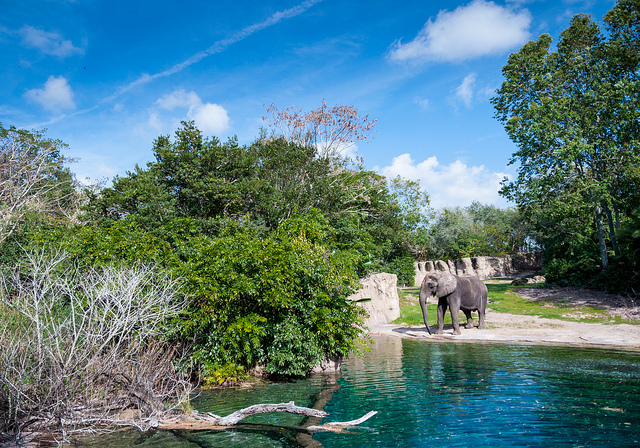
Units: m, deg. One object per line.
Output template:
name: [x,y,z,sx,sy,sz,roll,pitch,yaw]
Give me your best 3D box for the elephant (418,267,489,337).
elephant: [8.512,5.000,26.071,4.448,4.119,1.762,-2,-1,-14]
